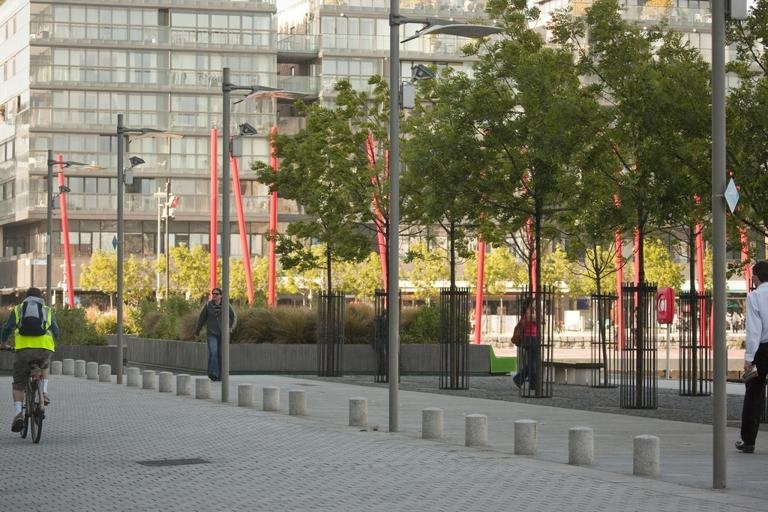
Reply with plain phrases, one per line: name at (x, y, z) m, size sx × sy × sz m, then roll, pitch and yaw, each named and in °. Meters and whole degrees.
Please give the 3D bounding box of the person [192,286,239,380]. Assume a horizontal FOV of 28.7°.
person at (-4.737, 2.177, 41.494) m, size 1.346 × 2.408 × 1.189 m, roll 1°, pitch 6°, yaw 14°

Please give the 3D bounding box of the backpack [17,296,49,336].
backpack at (-7.388, 1.381, 31.271) m, size 0.717 × 0.912 × 0.481 m, roll 3°, pitch -32°, yaw -13°
